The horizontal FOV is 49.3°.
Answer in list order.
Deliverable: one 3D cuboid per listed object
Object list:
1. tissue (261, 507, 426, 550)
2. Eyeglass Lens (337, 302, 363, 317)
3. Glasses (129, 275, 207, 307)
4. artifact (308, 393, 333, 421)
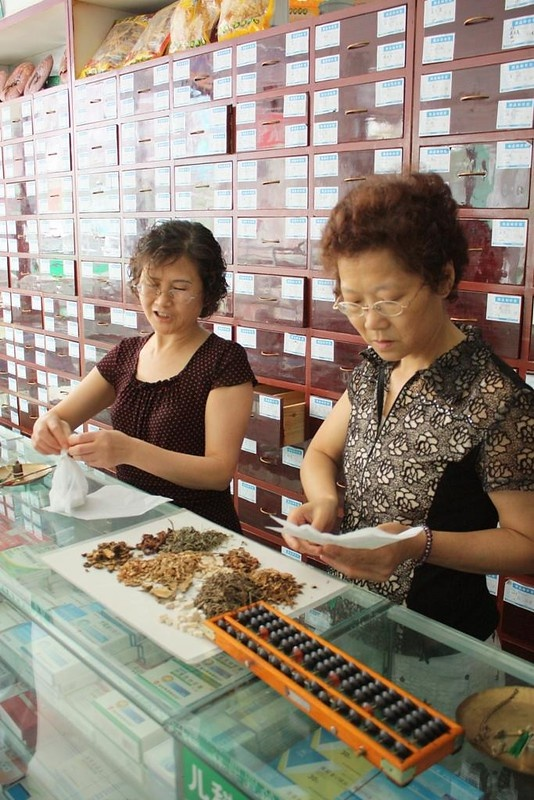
[{"bbox_3d":[0.139,0.192,0.902,0.289,0.058,0.081,-1,1,17],"label":"tissue"},{"bbox_3d":[0.147,-0.159,1.016,0.038,0.012,0.036,-3,13,-31],"label":"Eyeglass Lens"},{"bbox_3d":[-0.295,-0.325,1.741,0.195,0.079,0.113,-2,9,-4],"label":"Glasses"},{"bbox_3d":[0.238,0.028,2.582,0.055,0.094,0.103,-16,26,-36],"label":"artifact"}]
